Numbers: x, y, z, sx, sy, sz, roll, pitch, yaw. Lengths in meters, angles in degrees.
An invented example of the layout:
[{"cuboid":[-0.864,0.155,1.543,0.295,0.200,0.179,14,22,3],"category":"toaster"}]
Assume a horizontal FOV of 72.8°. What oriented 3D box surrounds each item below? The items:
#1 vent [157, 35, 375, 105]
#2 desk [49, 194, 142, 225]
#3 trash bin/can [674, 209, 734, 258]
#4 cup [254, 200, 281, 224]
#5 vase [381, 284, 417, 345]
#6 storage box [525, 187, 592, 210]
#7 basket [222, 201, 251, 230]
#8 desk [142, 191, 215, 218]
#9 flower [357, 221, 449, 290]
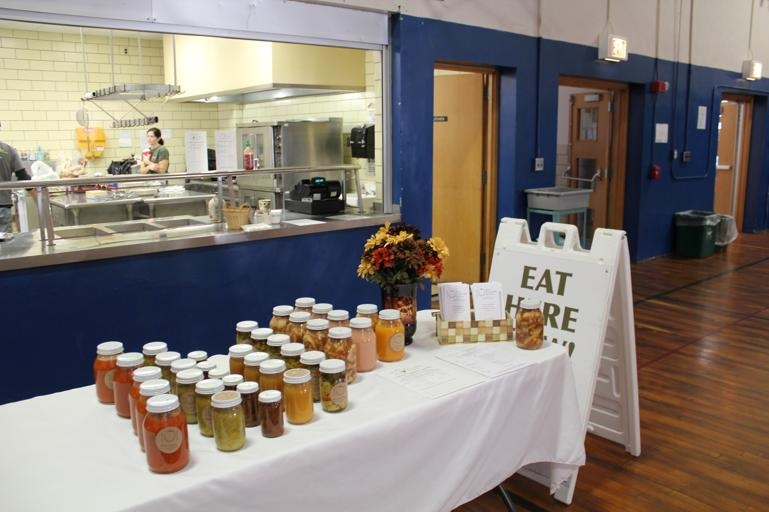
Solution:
[{"cuboid":[-1.744,-2.666,7.130,1.224,0.980,3.504,-14,19,-40],"category":"vent"},{"cuboid":[-3.445,-0.533,6.093,1.120,0.314,0.627,3,15,17],"category":"desk"},{"cuboid":[4.969,-0.350,8.184,0.888,0.682,0.450,-8,16,-24],"category":"trash bin/can"},{"cuboid":[-0.981,-0.365,4.374,0.240,0.181,0.178,-5,15,-13],"category":"cup"},{"cuboid":[0.074,0.304,2.736,0.200,0.314,0.202,-1,-2,26],"category":"vase"},{"cuboid":[2.013,-0.668,6.070,0.645,0.244,0.438,-12,18,-36],"category":"storage box"},{"cuboid":[-1.191,-0.332,4.270,0.227,0.217,0.216,-4,10,-26],"category":"basket"},{"cuboid":[-2.604,-0.633,6.479,0.525,0.313,0.465,-5,8,-32],"category":"desk"},{"cuboid":[0.049,-0.020,2.732,0.377,0.304,0.371,-2,7,-32],"category":"flower"}]
